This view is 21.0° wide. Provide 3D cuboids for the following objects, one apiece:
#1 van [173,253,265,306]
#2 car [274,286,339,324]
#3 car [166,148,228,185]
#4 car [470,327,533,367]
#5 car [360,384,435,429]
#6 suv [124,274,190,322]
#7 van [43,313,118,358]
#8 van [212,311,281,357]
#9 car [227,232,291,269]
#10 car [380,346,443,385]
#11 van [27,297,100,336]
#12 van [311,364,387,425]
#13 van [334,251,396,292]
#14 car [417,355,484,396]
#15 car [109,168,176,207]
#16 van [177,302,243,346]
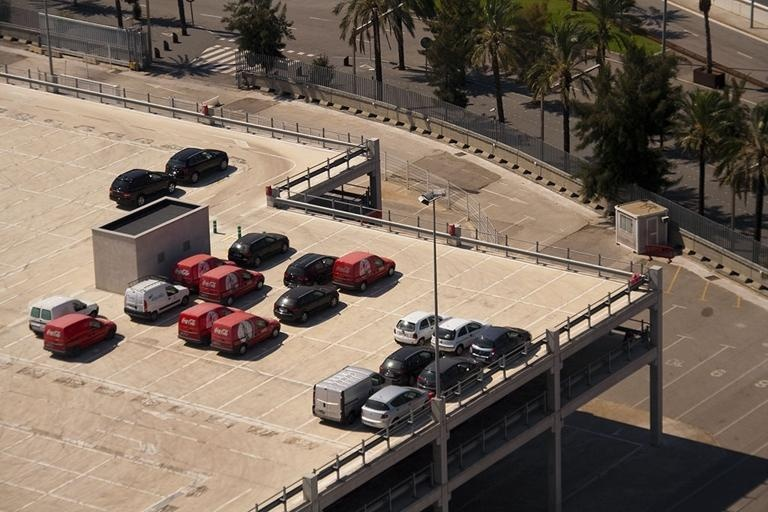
[{"bbox_3d":[-13.133,2.506,170.366,5.062,1.918,5.057,24,35,37],"label":"van"},{"bbox_3d":[-6.312,3.636,167.478,5.211,1.864,2.477,-26,39,-37],"label":"car"},{"bbox_3d":[-17.108,-8.426,186.056,2.780,2.160,5.445,25,39,37],"label":"car"},{"bbox_3d":[9.257,6.651,163.483,2.950,2.375,5.477,13,26,37],"label":"car"},{"bbox_3d":[0.928,10.925,158.038,3.153,2.382,6.027,14,29,35],"label":"car"},{"bbox_3d":[-18.307,3.153,167.822,2.949,2.323,4.979,24,38,35],"label":"suv"},{"bbox_3d":[-24.247,5.745,165.532,3.158,2.605,6.039,15,26,33],"label":"van"},{"bbox_3d":[-11.054,5.578,165.131,3.418,2.432,5.979,15,26,33],"label":"van"},{"bbox_3d":[-10.542,-0.675,173.794,4.699,1.893,2.510,-26,38,-36],"label":"car"},{"bbox_3d":[2.099,8.004,162.004,2.947,2.032,6.114,19,28,32],"label":"car"},{"bbox_3d":[-26.068,4.359,167.625,3.173,2.374,5.499,12,25,31],"label":"van"},{"bbox_3d":[-2.286,10.223,158.995,3.469,2.954,6.263,16,27,36],"label":"van"},{"bbox_3d":[-1.708,0.966,170.417,2.735,2.107,4.701,24,38,36],"label":"van"},{"bbox_3d":[5.011,8.814,160.556,3.113,2.328,5.577,21,34,38],"label":"car"},{"bbox_3d":[-21.546,-6.401,183.570,3.225,2.553,6.344,16,28,32],"label":"car"},{"bbox_3d":[-14.098,4.878,165.516,2.790,2.127,4.735,19,33,33],"label":"van"}]
